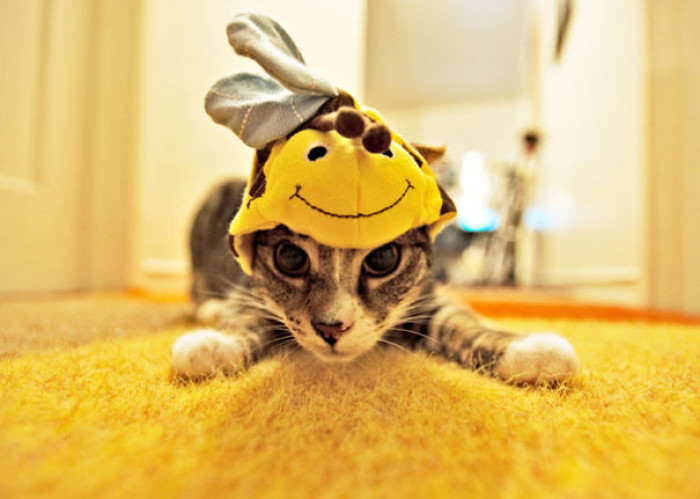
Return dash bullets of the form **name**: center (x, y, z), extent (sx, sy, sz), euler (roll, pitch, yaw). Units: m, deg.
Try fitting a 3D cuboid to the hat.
- **hat**: center (-0.043, -0.277, 2.015), extent (0.602, 0.705, 0.689), euler (-9, 24, -7)
